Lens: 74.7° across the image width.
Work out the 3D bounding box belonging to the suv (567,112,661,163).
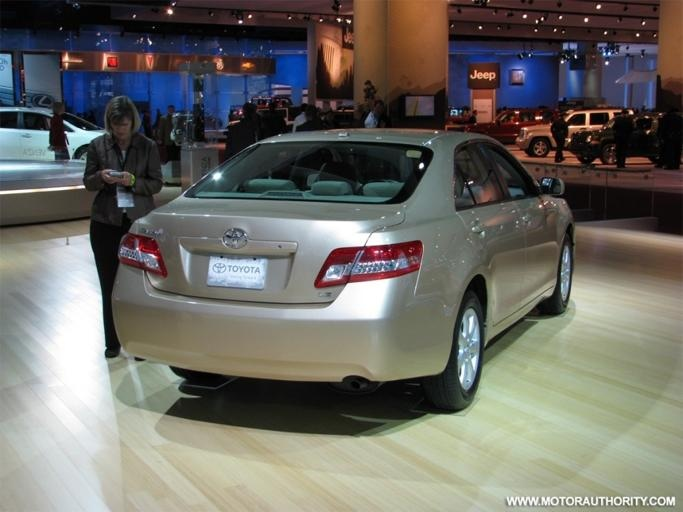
[{"bbox_3d":[11.603,-5.006,19.140,3.102,1.558,1.895,4,12,19],"label":"suv"}]

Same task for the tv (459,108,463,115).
[{"bbox_3d":[9.886,-12.048,37.180,0.303,0.567,0.151,-2,-5,-4],"label":"tv"}]

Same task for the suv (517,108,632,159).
[{"bbox_3d":[12.952,-7.030,24.938,5.582,2.634,2.746,-2,15,9],"label":"suv"}]

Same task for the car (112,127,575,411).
[{"bbox_3d":[0.442,-0.043,3.395,1.539,1.153,3.239,6,14,25],"label":"car"}]

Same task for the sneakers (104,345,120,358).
[{"bbox_3d":[-1.913,0.812,3.743,0.056,0.086,0.172,2,16,-1],"label":"sneakers"}]
